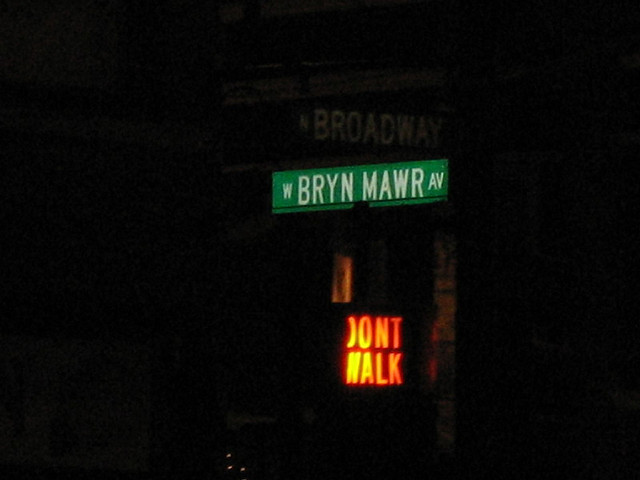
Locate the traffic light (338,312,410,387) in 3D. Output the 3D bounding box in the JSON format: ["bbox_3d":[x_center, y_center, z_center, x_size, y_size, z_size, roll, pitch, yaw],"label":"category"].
[{"bbox_3d":[0.431,0.854,7.116,0.455,0.587,0.051,3,-5,-4],"label":"traffic light"}]
